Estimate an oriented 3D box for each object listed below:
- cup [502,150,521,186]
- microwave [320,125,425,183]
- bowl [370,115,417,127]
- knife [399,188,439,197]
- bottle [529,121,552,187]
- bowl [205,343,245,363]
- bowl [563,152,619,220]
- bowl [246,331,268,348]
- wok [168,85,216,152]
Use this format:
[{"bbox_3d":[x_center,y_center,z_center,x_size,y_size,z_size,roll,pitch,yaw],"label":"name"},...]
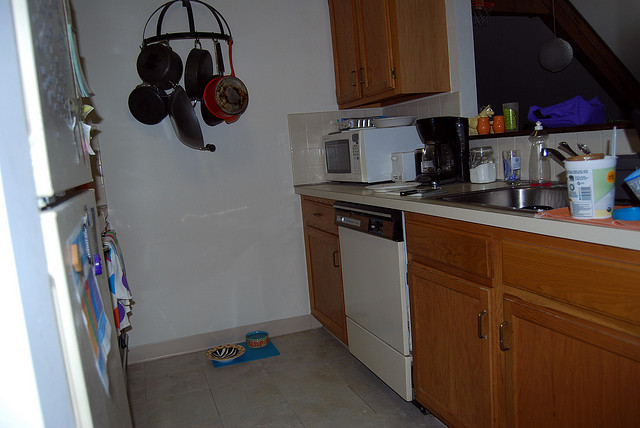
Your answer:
[{"bbox_3d":[1.008,-0.249,2.371,0.087,0.156,0.146,0,12,23],"label":"cup"},{"bbox_3d":[0.336,-0.317,2.987,0.395,0.292,0.556,-4,8,-21],"label":"microwave"},{"bbox_3d":[0.479,-0.584,2.887,0.285,0.064,0.128,-10,12,-25],"label":"bowl"},{"bbox_3d":[0.490,-0.102,2.210,0.128,0.010,0.025,-16,0,-36],"label":"knife"},{"bbox_3d":[1.043,-0.284,2.135,0.102,0.295,0.332,1,12,27],"label":"bottle"},{"bbox_3d":[-0.637,0.940,3.049,0.230,0.063,0.224,-4,11,1],"label":"bowl"},{"bbox_3d":[0.902,-0.105,1.505,0.150,0.226,0.151,-10,14,3],"label":"bowl"},{"bbox_3d":[-0.444,0.885,3.216,0.170,0.067,0.157,-4,11,1],"label":"bowl"},{"bbox_3d":[-0.818,-0.583,2.784,0.113,0.329,0.263,-19,25,-17],"label":"wok"}]
